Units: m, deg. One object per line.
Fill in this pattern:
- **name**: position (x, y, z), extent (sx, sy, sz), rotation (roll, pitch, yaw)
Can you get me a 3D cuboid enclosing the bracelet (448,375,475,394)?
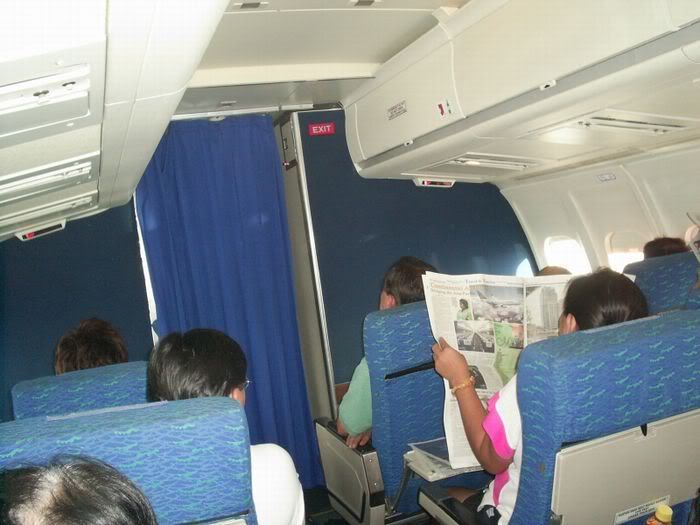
- **bracelet**: position (0.410, 0.446, 1.879), extent (0.069, 0.019, 0.069), rotation (-27, -2, -2)
